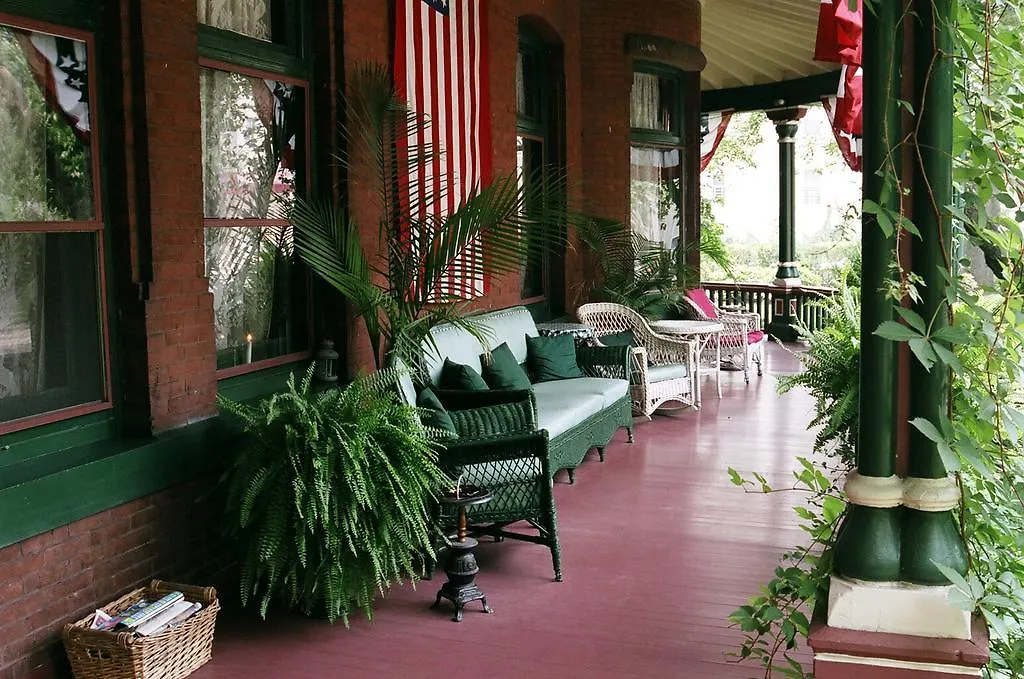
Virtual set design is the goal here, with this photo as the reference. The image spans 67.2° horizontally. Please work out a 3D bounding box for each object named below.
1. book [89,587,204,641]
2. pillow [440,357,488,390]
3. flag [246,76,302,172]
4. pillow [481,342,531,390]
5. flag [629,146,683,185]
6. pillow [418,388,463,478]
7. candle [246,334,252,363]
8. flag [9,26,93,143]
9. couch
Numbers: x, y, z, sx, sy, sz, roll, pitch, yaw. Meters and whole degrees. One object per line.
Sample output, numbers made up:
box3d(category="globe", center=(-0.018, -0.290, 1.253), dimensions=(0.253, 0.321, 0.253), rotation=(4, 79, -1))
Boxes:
box3d(category="book", center=(-1.702, 1.304, 3.640), dimensions=(0.175, 0.086, 0.252), rotation=(2, 9, 24))
box3d(category="pillow", center=(-0.340, 0.274, 5.584), dimensions=(0.226, 0.093, 0.223), rotation=(15, -3, -41))
box3d(category="flag", center=(-1.528, -1.413, 5.044), dimensions=(0.034, 0.551, 0.423), rotation=(3, 10, 28))
box3d(category="pillow", center=(-0.036, 0.125, 6.250), dimensions=(0.262, 0.250, 0.612), rotation=(16, 11, 16))
box3d(category="flag", center=(1.965, -2.373, 10.492), dimensions=(0.093, 0.465, 1.104), rotation=(7, 12, 45))
box3d(category="pillow", center=(-0.451, 0.495, 4.650), dimensions=(0.148, 0.421, 0.405), rotation=(-13, 4, 2))
box3d(category="candle", center=(-1.680, 0.059, 4.902), dimensions=(0.013, 0.173, 0.063), rotation=(2, 9, 25))
box3d(category="flag", center=(-2.249, -1.257, 3.787), dimensions=(0.036, 0.478, 0.329), rotation=(4, 10, 31))
box3d(category="couch", center=(0.407, 0.540, 6.387), dimensions=(1.369, 1.541, 3.138), rotation=(2, 6, 24))
